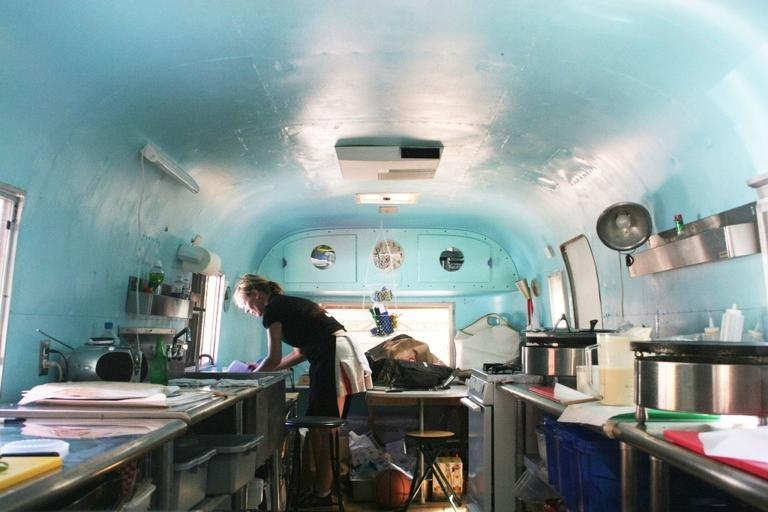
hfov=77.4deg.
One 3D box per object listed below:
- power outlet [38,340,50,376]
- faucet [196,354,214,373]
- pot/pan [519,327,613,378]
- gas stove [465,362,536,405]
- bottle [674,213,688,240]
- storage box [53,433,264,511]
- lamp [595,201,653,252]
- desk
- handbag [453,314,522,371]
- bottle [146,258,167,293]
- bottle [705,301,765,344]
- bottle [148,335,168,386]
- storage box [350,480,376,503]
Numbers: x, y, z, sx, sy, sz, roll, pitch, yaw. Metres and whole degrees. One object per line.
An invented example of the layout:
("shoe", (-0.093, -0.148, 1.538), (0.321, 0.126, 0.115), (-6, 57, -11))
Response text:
("power outlet", (-1.922, 0.582, 2.721), (0.038, 0.198, 0.103), (-3, -11, -5))
("faucet", (-1.745, 1.070, 4.727), (0.135, 0.143, 0.274), (0, -11, -16))
("pot/pan", (1.162, 0.629, 3.236), (0.452, 0.233, 0.445), (-2, -7, 18))
("gas stove", (1.022, 1.147, 4.061), (0.584, 0.299, 0.734), (-1, -9, 2))
("bottle", (1.850, -0.198, 2.999), (0.057, 0.152, 0.090), (-9, -12, 26))
("storage box", (-0.944, 1.147, 2.563), (0.377, 0.302, 0.694), (-6, -11, 13))
("lamp", (1.638, -0.201, 3.360), (0.359, 0.339, 0.379), (3, 2, 22))
("desk", (0.349, 1.948, 5.321), (1.215, 1.059, 1.071), (-1, -4, -2))
("handbag", (1.304, 1.097, 5.870), (0.840, 0.728, 0.308), (3, -11, 28))
("bottle", (-1.747, 0.181, 3.673), (0.128, 0.215, 0.124), (7, 1, 0))
("bottle", (1.873, 0.381, 2.629), (0.263, 0.251, 0.207), (-4, -9, 22))
("bottle", (-1.459, 0.687, 3.111), (0.088, 0.297, 0.232), (3, -12, -28))
("storage box", (-0.213, 2.267, 4.583), (0.220, 0.195, 0.209), (1, -35, -1))
